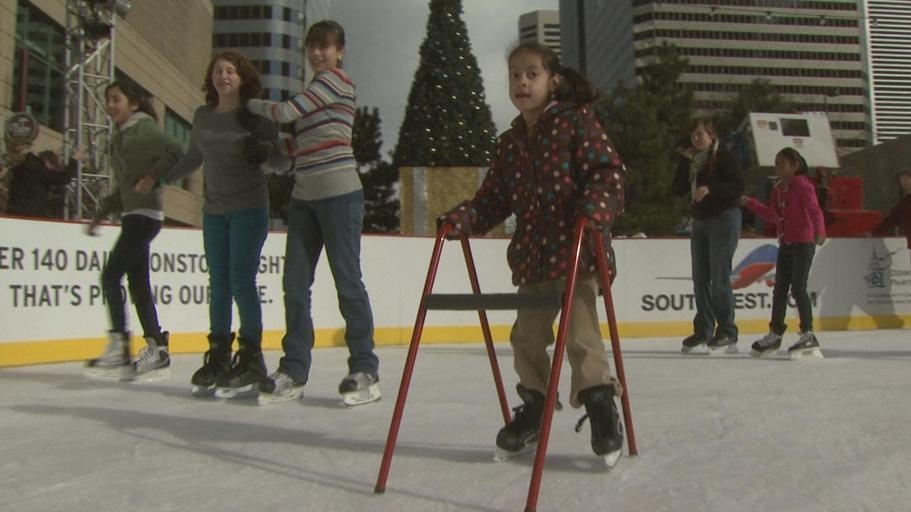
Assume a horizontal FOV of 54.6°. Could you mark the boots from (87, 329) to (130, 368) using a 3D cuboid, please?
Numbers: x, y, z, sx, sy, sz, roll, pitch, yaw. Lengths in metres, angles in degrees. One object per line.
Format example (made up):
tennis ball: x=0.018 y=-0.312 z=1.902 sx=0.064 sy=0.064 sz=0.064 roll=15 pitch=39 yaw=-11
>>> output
boots: x=-4.791 y=1.305 z=12.234 sx=0.649 sy=0.474 sz=0.239 roll=-4 pitch=1 yaw=-16

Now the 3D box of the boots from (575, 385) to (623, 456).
boots: x=1.639 y=1.918 z=10.175 sx=0.347 sy=1.012 sz=0.433 roll=-18 pitch=-31 yaw=31

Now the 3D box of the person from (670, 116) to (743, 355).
person: x=3.975 y=-0.247 z=13.776 sx=0.962 sy=3.467 sz=0.507 roll=-2 pitch=-1 yaw=15

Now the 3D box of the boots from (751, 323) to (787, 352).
boots: x=4.922 y=1.337 z=13.537 sx=0.741 sy=0.539 sz=0.263 roll=1 pitch=-3 yaw=-8

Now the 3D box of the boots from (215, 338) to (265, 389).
boots: x=-2.818 y=1.480 z=11.596 sx=0.306 sy=0.725 sz=0.837 roll=-5 pitch=-1 yaw=31

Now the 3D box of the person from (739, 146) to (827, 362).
person: x=5.108 y=-0.056 z=13.549 sx=1.003 sy=3.216 sz=0.432 roll=-2 pitch=-1 yaw=21

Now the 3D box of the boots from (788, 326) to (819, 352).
boots: x=5.299 y=1.335 z=13.499 sx=0.554 sy=0.365 sz=0.213 roll=-1 pitch=0 yaw=-24

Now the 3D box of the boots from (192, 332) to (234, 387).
boots: x=-3.206 y=1.383 z=11.661 sx=0.280 sy=0.750 sz=0.843 roll=9 pitch=11 yaw=19
